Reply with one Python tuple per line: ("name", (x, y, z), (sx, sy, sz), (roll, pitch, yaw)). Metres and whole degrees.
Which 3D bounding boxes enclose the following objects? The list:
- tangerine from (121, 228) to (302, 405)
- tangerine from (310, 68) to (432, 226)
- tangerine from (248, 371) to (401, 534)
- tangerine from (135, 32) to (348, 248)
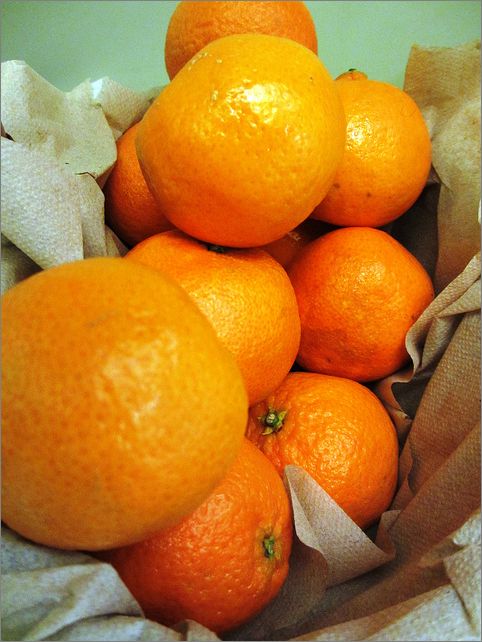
("tangerine", (-0.010, -0.011, 0.505), (0.116, 0.116, 0.112), (31, 83, -1))
("tangerine", (0.097, -0.162, 0.600), (0.106, 0.114, 0.139), (-5, 108, 3))
("tangerine", (0.063, 0.105, 0.570), (0.106, 0.115, 0.117), (-25, 59, -1))
("tangerine", (0.018, -0.147, 0.584), (0.152, 0.158, 0.188), (-18, 93, -9))
